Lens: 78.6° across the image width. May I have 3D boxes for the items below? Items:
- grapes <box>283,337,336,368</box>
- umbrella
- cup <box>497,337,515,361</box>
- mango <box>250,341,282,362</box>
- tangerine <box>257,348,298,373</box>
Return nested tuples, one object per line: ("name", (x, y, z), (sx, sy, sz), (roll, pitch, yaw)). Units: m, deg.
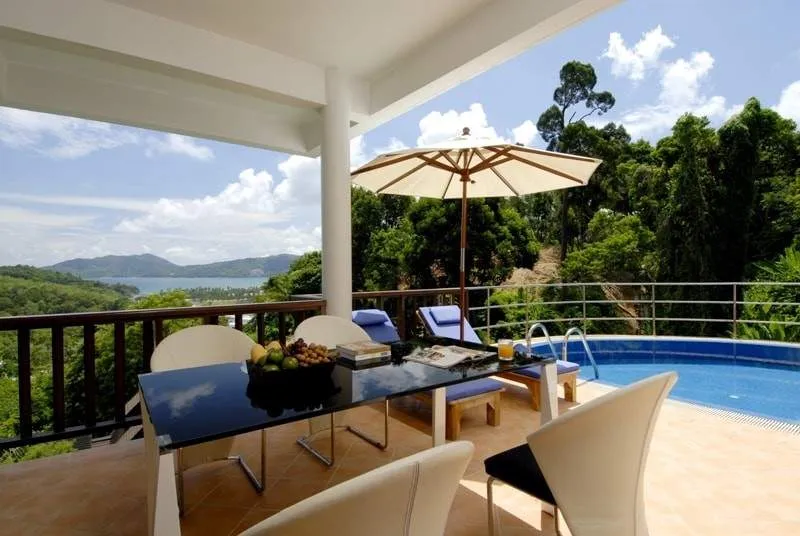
("grapes", (-0.697, 0.645, 3.668), (0.220, 0.139, 0.290), (9, 0, -18))
("umbrella", (0.796, -0.272, 5.846), (2.556, 2.565, 2.517), (-15, 22, -42))
("cup", (0.883, 0.634, 3.870), (0.145, 0.160, 0.150), (-1, -1, 0))
("mango", (-1.019, 0.623, 3.664), (0.219, 0.133, 0.108), (-21, -46, -2))
("tangerine", (-0.890, 0.679, 3.562), (0.176, 0.108, 0.221), (2, -3, 16))
